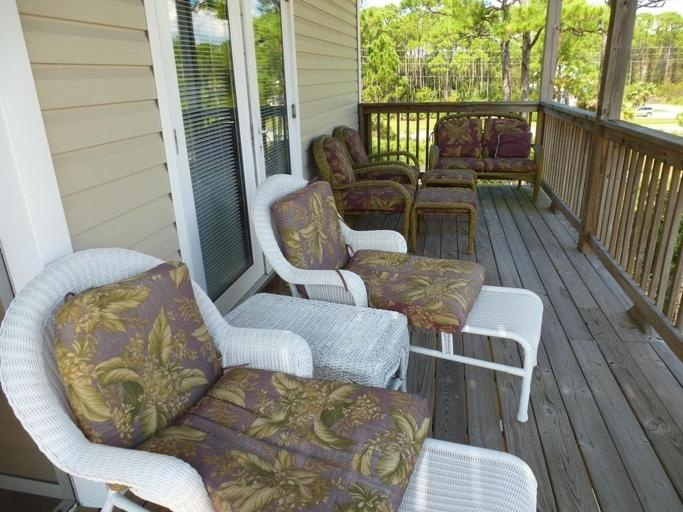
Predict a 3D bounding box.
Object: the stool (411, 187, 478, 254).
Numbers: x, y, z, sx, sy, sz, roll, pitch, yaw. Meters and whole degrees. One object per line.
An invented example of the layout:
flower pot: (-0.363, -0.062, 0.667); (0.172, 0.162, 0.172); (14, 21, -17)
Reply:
stool: (0.964, -0.361, 4.496); (0.600, 0.589, 0.618); (4, 24, 15)

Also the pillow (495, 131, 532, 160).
pillow: (2.132, -1.365, 5.828); (0.430, 0.314, 0.473); (10, 27, 14)

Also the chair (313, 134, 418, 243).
chair: (0.265, -0.718, 4.712); (0.972, 0.989, 0.847); (1, 21, 6)

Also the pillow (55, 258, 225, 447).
pillow: (-0.740, 0.362, 1.781); (0.301, 0.540, 0.609); (14, 20, 27)

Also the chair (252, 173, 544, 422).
chair: (0.338, 0.129, 2.749); (1.585, 1.227, 0.877); (4, 21, 25)

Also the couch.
couch: (1.774, -1.219, 5.905); (1.263, 1.062, 0.834); (2, 19, 11)

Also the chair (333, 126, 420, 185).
chair: (0.363, -0.969, 5.338); (0.890, 0.971, 0.718); (-2, 14, -10)

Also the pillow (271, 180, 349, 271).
pillow: (-0.190, -0.157, 2.682); (0.131, 0.483, 0.506); (-13, 2, 32)
